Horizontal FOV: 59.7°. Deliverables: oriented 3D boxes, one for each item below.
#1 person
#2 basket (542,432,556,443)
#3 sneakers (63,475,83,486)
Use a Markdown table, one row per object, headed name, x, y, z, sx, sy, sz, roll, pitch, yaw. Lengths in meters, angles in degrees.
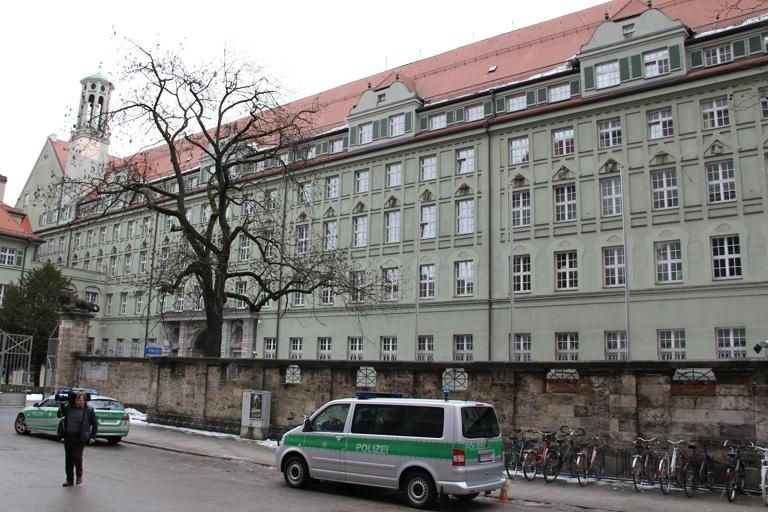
| name | x | y | z | sx | sy | sz | roll | pitch | yaw |
| --- | --- | --- | --- | --- | --- | --- | --- | --- | --- |
| person | -10.107 | 5.926 | 22.104 | 1.011 | 3.026 | 1.139 | 12 | -17 | -36 |
| basket | 6.336 | 6.916 | 25.690 | 0.483 | 0.420 | 0.854 | -2 | -15 | 13 |
| sneakers | -9.916 | 7.218 | 21.449 | 0.560 | 0.237 | 0.216 | 5 | -13 | -18 |
